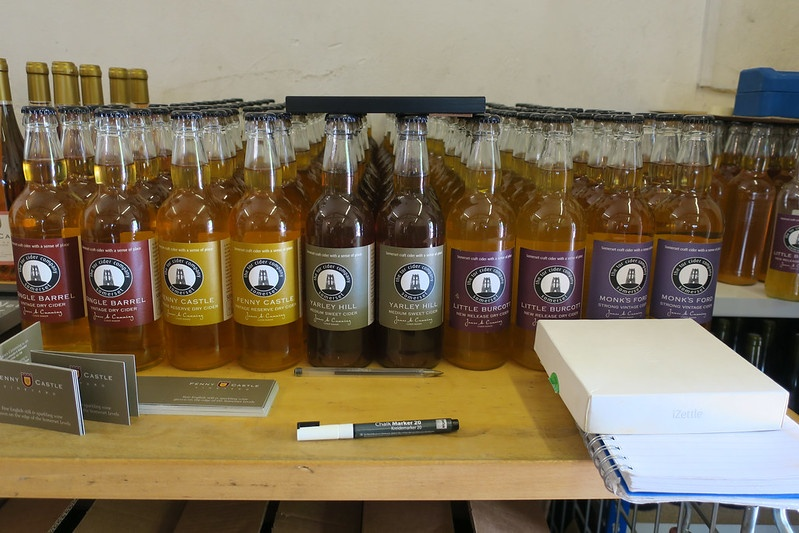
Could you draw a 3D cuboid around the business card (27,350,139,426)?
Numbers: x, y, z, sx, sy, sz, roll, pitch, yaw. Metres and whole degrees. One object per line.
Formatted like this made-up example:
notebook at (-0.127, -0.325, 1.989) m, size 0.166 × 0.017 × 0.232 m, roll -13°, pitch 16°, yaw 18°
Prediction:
business card at (-0.638, 0.244, 1.263) m, size 0.154 × 0.096 × 0.061 m, roll 5°, pitch 11°, yaw 7°
